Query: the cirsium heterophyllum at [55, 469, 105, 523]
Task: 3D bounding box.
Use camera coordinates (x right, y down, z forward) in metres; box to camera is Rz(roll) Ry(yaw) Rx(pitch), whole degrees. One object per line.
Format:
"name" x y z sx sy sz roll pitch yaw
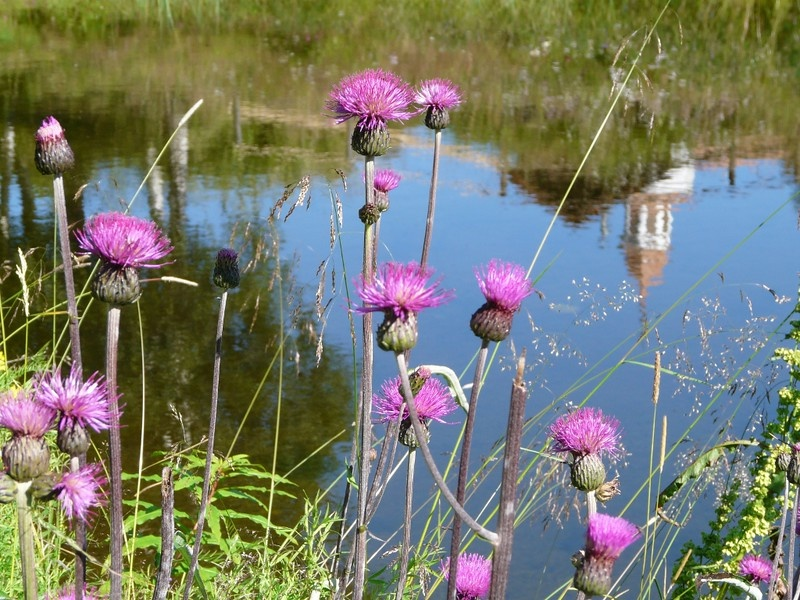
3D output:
"cirsium heterophyllum" -1.994 1.232 7.284 0.292 0.461 0.391 2 13 -15

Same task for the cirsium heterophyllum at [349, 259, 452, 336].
"cirsium heterophyllum" 0.008 -0.053 7.216 0.606 0.406 0.617 8 -18 -41

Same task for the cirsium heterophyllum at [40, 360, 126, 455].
"cirsium heterophyllum" -2.065 0.695 7.300 0.443 0.554 0.441 0 -3 -42

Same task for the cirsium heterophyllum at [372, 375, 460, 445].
"cirsium heterophyllum" 0.139 0.728 7.810 0.558 0.467 0.597 3 13 -12

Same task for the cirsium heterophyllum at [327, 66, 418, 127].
"cirsium heterophyllum" -0.143 -1.416 7.999 0.539 0.345 0.596 6 25 8

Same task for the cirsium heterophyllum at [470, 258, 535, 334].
"cirsium heterophyllum" 0.661 -0.003 7.334 0.383 0.516 0.263 -2 14 -29

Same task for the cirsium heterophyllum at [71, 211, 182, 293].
"cirsium heterophyllum" -1.811 -0.375 7.503 0.572 0.458 0.600 -1 -10 26

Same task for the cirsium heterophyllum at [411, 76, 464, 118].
"cirsium heterophyllum" 0.277 -1.519 8.616 0.444 0.236 0.297 1 14 -22

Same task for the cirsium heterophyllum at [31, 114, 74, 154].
"cirsium heterophyllum" -2.398 -1.112 7.955 0.224 0.272 0.240 -17 5 8

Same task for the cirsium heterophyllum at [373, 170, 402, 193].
"cirsium heterophyllum" -0.098 -0.891 8.643 0.180 0.148 0.391 6 14 -1
